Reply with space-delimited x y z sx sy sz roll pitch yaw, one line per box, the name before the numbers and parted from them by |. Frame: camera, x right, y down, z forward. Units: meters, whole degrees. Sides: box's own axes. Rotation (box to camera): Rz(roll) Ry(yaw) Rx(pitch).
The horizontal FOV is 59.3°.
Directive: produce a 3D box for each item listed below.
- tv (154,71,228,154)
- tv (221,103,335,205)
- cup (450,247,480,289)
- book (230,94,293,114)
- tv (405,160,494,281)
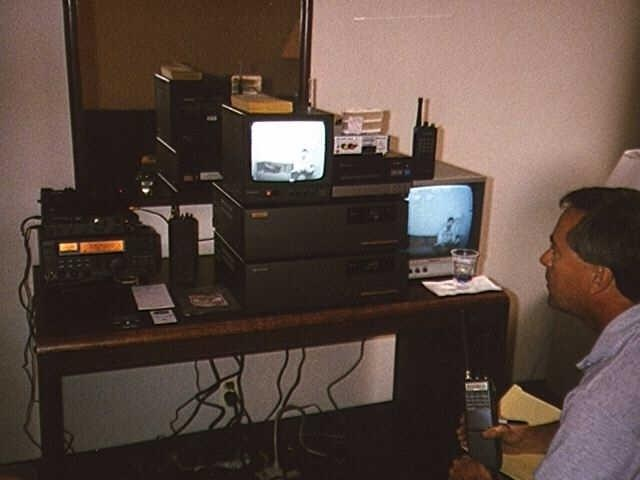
tv | -0.502 -0.531 2.293 0.342 0.344 0.260 -5 20 -27
tv | -0.153 -0.322 1.938 0.327 0.305 0.343 -4 15 -20
cup | 0.552 0.106 2.160 0.127 0.148 0.125 -1 3 0
book | -0.211 -0.453 1.891 0.140 0.054 0.220 -14 20 -40
tv | 0.499 -0.089 2.408 0.388 0.416 0.421 -3 13 -12
